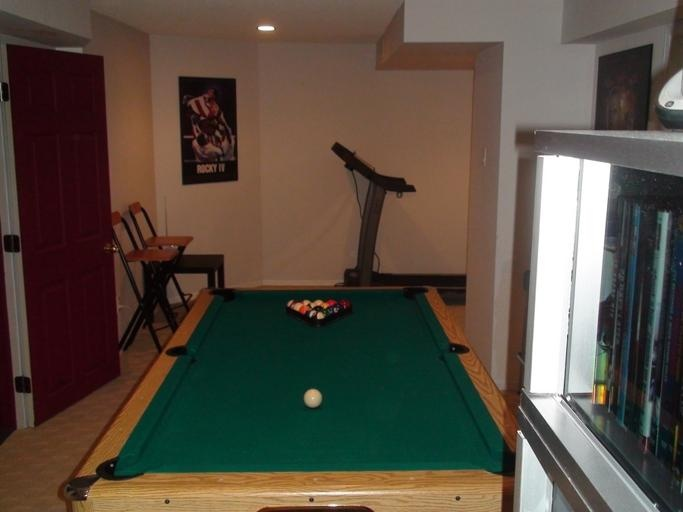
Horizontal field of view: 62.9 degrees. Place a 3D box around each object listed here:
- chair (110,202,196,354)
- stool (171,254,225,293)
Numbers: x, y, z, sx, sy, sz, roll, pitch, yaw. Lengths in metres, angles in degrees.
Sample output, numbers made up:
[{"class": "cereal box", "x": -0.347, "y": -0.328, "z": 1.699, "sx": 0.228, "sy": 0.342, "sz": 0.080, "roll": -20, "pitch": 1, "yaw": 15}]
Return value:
[{"class": "chair", "x": -1.683, "y": 0.147, "z": 4.910, "sx": 0.657, "sy": 1.424, "sz": 0.711, "roll": 0, "pitch": 8, "yaw": -2}, {"class": "stool", "x": -1.292, "y": 0.200, "z": 5.171, "sx": 0.428, "sy": 0.395, "sz": 0.452, "roll": 3, "pitch": 14, "yaw": -3}]
